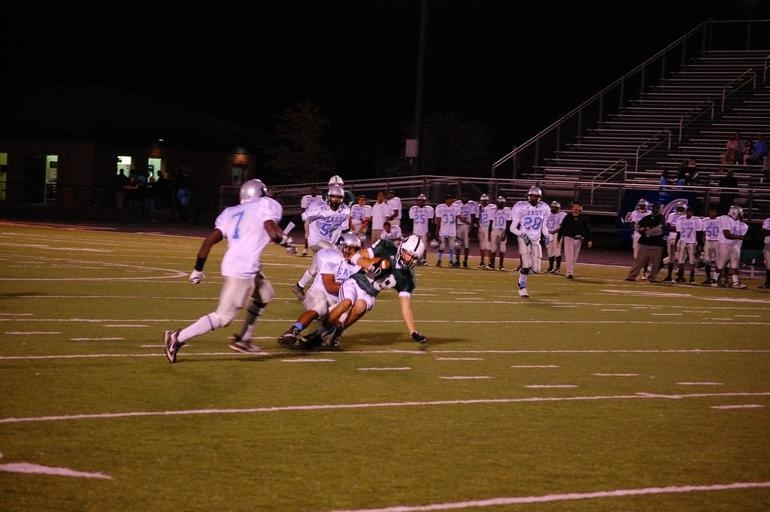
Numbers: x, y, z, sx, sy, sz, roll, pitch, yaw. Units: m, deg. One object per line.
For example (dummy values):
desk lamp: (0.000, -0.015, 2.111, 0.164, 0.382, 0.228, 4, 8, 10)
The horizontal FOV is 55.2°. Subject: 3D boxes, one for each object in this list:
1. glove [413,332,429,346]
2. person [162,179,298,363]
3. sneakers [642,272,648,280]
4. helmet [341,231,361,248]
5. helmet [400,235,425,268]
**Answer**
glove: (0.534, 1.219, 11.074, 0.202, 0.109, 0.373, -9, 8, 12)
person: (-1.895, 0.201, 9.478, 1.288, 2.391, 1.289, 6, 7, 6)
sneakers: (8.674, 0.685, 24.581, 0.221, 0.200, 0.619, 1, -3, 12)
helmet: (-0.506, -0.220, 11.326, 0.331, 0.208, 0.251, -12, -33, -4)
helmet: (0.394, -0.073, 10.843, 0.357, 0.466, 0.317, 5, 7, -2)
